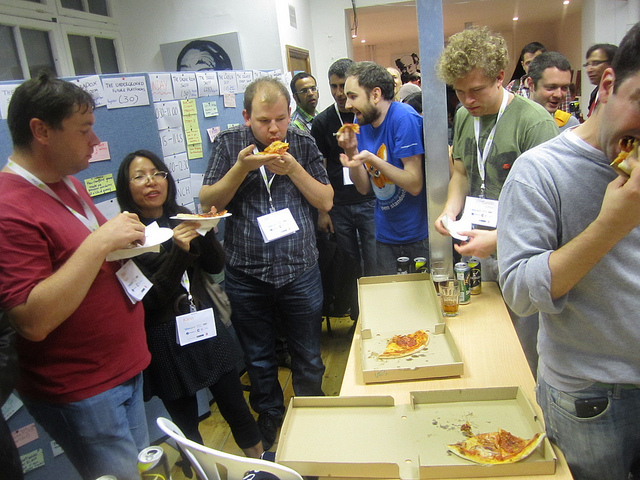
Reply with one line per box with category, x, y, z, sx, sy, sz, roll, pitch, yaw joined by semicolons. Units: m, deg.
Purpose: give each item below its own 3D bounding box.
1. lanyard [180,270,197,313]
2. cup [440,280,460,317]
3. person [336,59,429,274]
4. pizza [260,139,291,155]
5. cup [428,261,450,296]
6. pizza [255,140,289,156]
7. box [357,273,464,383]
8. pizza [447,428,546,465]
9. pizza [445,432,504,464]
lanyard;-0.659;0.258;2.229;0.060;0.210;0.026;-20;-17;-2
cup;0.640;0.277;2.170;0.123;0.166;0.093;-8;20;-6
person;0.413;-0.350;2.803;0.499;1.471;0.562;-1;20;13
pizza;-0.232;-0.480;2.328;0.133;0.068;0.190;4;20;26
cup;0.636;0.208;2.362;0.107;0.158;0.103;-5;9;1
pizza;-0.233;-0.470;2.309;0.108;0.041;0.118;-17;14;23
box;0.376;0.375;2.056;0.410;0.207;0.621;-5;18;3
pizza;0.563;0.671;1.429;0.184;0.036;0.131;-4;8;8
pizza;0.500;0.671;1.448;0.169;0.013;0.141;0;19;16
